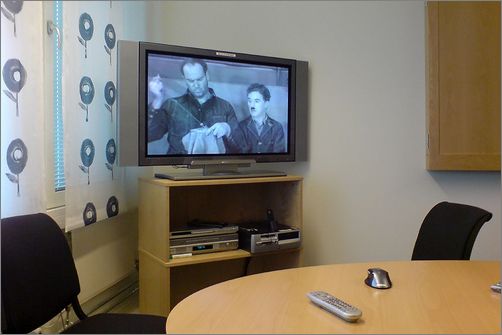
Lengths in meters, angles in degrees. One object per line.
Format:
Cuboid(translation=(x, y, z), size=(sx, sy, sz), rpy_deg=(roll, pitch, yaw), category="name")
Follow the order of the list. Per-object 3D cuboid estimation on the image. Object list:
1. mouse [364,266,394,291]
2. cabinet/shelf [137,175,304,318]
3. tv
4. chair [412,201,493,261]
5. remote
Cuboid(translation=(0.629, 0.544, 1.863), size=(0.132, 0.075, 0.196), rpy_deg=(-5, 0, 7), category="mouse")
Cuboid(translation=(-0.247, 0.529, 2.646), size=(1.013, 0.957, 0.429), rpy_deg=(-1, 2, -29), category="cabinet/shelf")
Cuboid(translation=(-0.352, -0.421, 2.894), size=(1.124, 0.706, 0.084), rpy_deg=(-1, 4, -20), category="tv")
Cuboid(translation=(1.168, 0.403, 2.212), size=(0.246, 0.342, 0.343), rpy_deg=(-8, 12, -33), category="chair")
Cuboid(translation=(0.359, 0.600, 1.634), size=(0.092, 0.037, 0.172), rpy_deg=(-6, 13, -40), category="remote")
